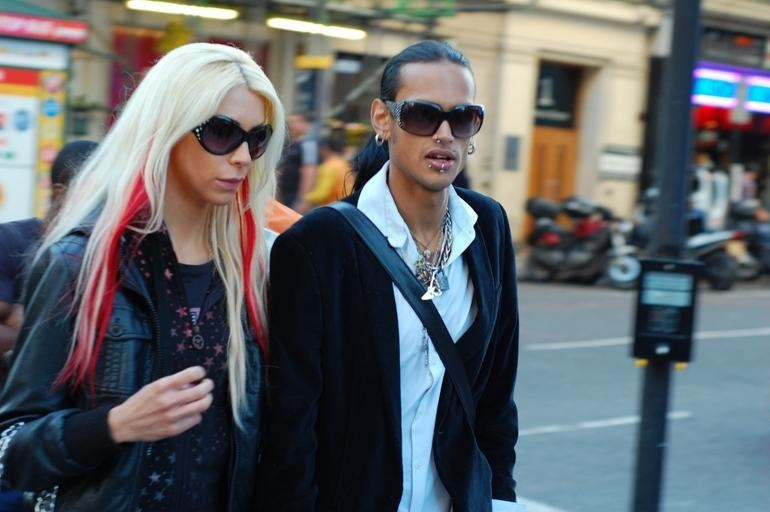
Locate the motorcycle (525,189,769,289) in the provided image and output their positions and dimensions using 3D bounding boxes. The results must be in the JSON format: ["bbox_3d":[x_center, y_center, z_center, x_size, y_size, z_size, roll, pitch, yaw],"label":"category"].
[{"bbox_3d":[2.968,-0.208,9.290,2.396,1.334,1.181,-2,-2,6],"label":"motorcycle"}]
